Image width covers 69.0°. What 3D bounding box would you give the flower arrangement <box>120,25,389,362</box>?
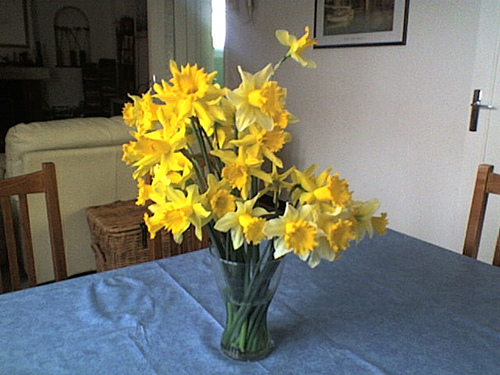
[{"bbox_3d":[-0.104,0.122,0.839,0.407,0.516,0.310,-10,-19,-14],"label":"flower arrangement"}]

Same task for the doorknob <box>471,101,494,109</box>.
[{"bbox_3d":[1.584,-0.561,2.471,0.129,0.044,0.046,10,20,32],"label":"doorknob"}]

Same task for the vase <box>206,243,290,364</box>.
[{"bbox_3d":[-0.007,0.258,0.952,0.175,0.289,0.221,-2,17,-2],"label":"vase"}]
